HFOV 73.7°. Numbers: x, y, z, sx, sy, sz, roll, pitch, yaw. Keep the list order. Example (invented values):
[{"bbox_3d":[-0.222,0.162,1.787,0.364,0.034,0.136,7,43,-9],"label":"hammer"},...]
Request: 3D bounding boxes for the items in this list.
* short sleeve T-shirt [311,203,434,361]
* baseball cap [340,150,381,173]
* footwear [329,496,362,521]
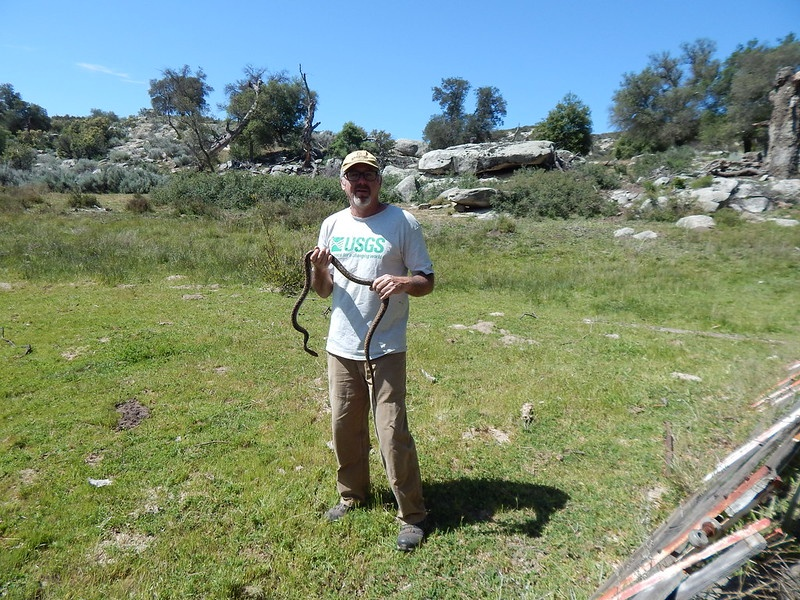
[{"bbox_3d":[-0.250,-0.178,4.862,1.048,1.316,0.681,0,16,6],"label":"short sleeve T-shirt"},{"bbox_3d":[-0.359,-1.235,4.789,0.331,0.203,0.230,-3,17,-7],"label":"baseball cap"},{"bbox_3d":[-0.487,1.967,5.090,0.125,0.166,0.378,14,11,43],"label":"footwear"}]
